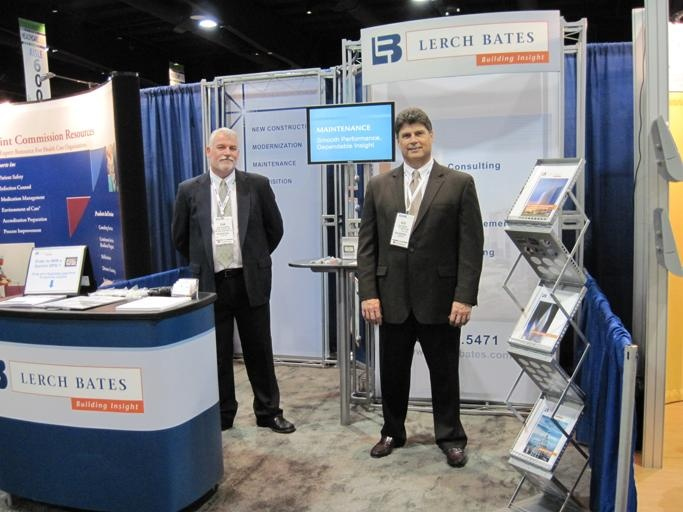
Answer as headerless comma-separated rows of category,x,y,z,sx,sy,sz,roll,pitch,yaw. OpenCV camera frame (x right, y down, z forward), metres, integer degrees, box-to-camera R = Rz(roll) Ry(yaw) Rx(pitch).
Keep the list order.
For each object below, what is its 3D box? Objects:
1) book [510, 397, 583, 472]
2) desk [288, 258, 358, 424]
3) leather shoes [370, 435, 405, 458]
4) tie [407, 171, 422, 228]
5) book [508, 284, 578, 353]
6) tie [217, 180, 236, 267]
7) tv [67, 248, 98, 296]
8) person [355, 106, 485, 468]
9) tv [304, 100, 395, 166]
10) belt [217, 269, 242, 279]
book,1.066,0.919,3.016,0.090,0.352,0.268,35,-7,-34
desk,-0.142,0.680,4.686,0.639,1.364,1.082,1,-2,-8
leather shoes,0.278,1.201,3.662,0.090,0.115,0.271,-8,-12,43
tie,0.442,-0.378,3.491,0.075,0.347,0.036,2,45,7
book,1.048,0.287,3.043,0.363,0.412,0.078,14,18,-34
tie,-0.768,-0.211,3.823,0.095,0.566,0.162,-3,10,-11
tv,-1.574,0.051,3.547,0.142,0.280,0.247,-4,15,-33
person,0.464,0.192,3.529,0.754,2.128,0.352,1,10,14
tv,0.069,-0.835,3.943,0.440,0.306,0.018,0,1,13
belt,-0.745,0.115,3.820,0.169,0.067,0.036,-5,11,-17
